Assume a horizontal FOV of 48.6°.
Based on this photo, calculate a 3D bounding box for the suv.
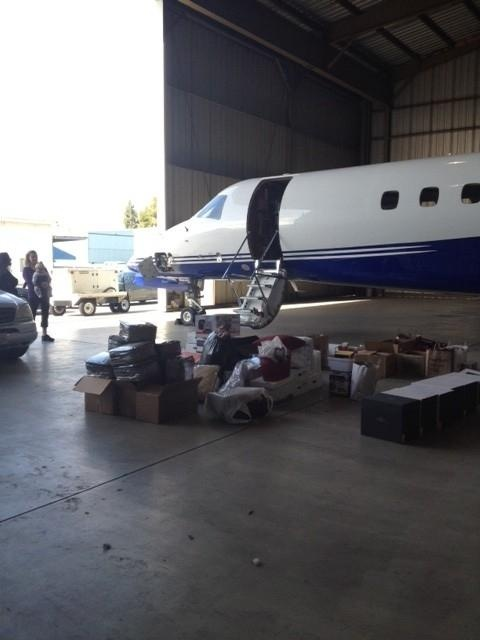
[{"bbox_3d":[-4.362,-0.839,15.079,1.340,1.204,1.842,0,0,40],"label":"suv"}]

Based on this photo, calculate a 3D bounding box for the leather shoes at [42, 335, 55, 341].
[{"bbox_3d":[-3.322,0.312,9.219,0.189,0.121,0.094,-1,7,-13],"label":"leather shoes"}]
